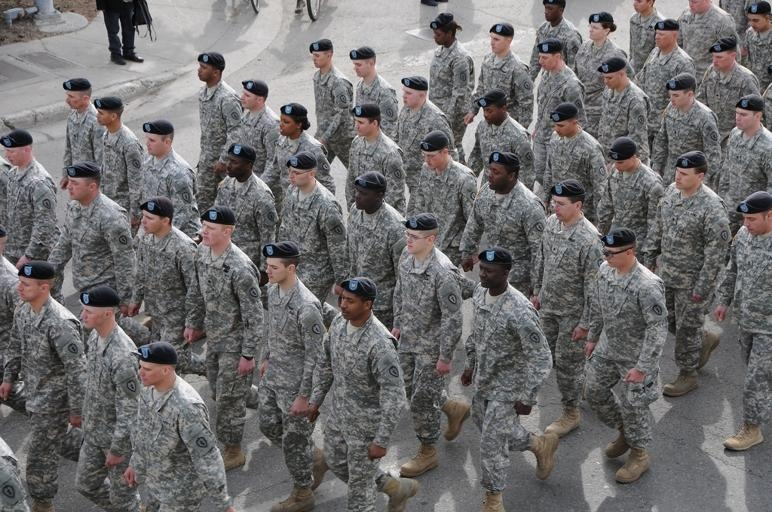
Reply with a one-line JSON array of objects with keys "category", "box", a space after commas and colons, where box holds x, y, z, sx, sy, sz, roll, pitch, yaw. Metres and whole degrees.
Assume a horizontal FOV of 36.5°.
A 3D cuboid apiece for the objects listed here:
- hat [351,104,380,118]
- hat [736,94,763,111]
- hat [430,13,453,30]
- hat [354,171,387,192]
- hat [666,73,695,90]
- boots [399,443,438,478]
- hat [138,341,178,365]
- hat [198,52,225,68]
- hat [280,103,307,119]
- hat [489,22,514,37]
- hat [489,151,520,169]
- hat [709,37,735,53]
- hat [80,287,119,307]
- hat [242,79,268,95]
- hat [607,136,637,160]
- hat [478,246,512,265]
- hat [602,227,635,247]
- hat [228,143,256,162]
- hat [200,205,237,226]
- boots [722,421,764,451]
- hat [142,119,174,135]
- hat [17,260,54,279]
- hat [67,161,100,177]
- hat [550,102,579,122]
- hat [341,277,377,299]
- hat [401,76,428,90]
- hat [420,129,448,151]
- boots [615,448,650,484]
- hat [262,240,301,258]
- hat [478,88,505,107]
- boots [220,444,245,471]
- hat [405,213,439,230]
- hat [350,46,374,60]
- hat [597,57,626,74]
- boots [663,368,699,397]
[{"category": "hat", "box": [-0.260, -2.139, 17.294, 0.336, 0.087, 0.211, 0, 19, -8]}, {"category": "hat", "box": [5.457, -2.288, 17.520, 0.357, 0.098, 0.231, 0, 16, -33]}, {"category": "hat", "box": [1.060, -4.079, 20.441, 0.429, 0.152, 0.279, -22, 44, -40]}, {"category": "hat", "box": [-0.143, -0.995, 15.506, 0.401, 0.160, 0.262, 14, 4, -15]}, {"category": "hat", "box": [4.523, -2.651, 18.071, 0.326, 0.167, 0.397, -16, 23, -7]}, {"category": "boots", "box": [0.428, 2.586, 15.032, 0.253, 0.343, 0.634, 13, 18, 41]}, {"category": "hat", "box": [-2.581, 1.106, 13.331, 0.397, 0.148, 0.252, 12, 13, 19]}, {"category": "hat", "box": [-2.702, -3.118, 18.818, 0.361, 0.144, 0.442, 17, 5, 33]}, {"category": "hat", "box": [-1.328, -2.138, 17.196, 0.310, 0.083, 0.229, 10, 19, 4]}, {"category": "hat", "box": [2.014, -3.836, 20.079, 0.382, 0.112, 0.276, 10, 28, -7]}, {"category": "hat", "box": [1.644, -1.316, 15.996, 0.394, 0.115, 0.254, 5, 13, -5]}, {"category": "hat", "box": [5.591, -3.460, 19.482, 0.456, 0.178, 0.303, -1, 34, 23]}, {"category": "hat", "box": [-3.363, 0.493, 13.926, 0.378, 0.120, 0.245, 4, 26, -38]}, {"category": "hat", "box": [-1.961, -2.609, 18.237, 0.347, 0.102, 0.256, 3, 30, -48]}, {"category": "hat", "box": [3.365, -1.503, 16.609, 0.334, 0.271, 0.359, -5, 39, 7]}, {"category": "hat", "box": [1.343, -0.015, 14.329, 0.251, 0.096, 0.311, -2, 12, -43]}, {"category": "hat", "box": [2.930, -0.193, 14.730, 0.392, 0.322, 0.321, 4, 36, 7]}, {"category": "hat", "box": [-2.024, -1.458, 16.490, 0.357, 0.111, 0.261, 15, 17, 17]}, {"category": "hat", "box": [-2.114, -0.506, 14.967, 0.415, 0.261, 0.317, -9, 36, -12]}, {"category": "boots", "box": [4.693, 2.357, 15.340, 0.702, 0.354, 0.230, -6, 9, -6]}, {"category": "hat", "box": [-3.265, -1.868, 17.098, 0.361, 0.099, 0.254, -3, 18, -40]}, {"category": "hat", "box": [-4.286, 0.173, 14.402, 0.359, 0.099, 0.240, 8, 14, 19]}, {"category": "hat", "box": [-4.086, -1.190, 16.025, 0.356, 0.095, 0.259, 0, 5, -36]}, {"category": "hat", "box": [2.670, -2.135, 17.423, 0.416, 0.168, 0.261, 4, 34, 13]}, {"category": "hat", "box": [-0.231, 0.392, 13.768, 0.274, 0.111, 0.354, 22, 5, 42]}, {"category": "hat", "box": [0.487, -2.691, 18.310, 0.361, 0.106, 0.263, 7, 18, -21]}, {"category": "hat", "box": [0.634, -1.609, 16.449, 0.425, 0.179, 0.264, 6, 46, 17]}, {"category": "boots", "box": [3.145, 2.673, 14.868, 0.498, 0.398, 0.216, -29, 35, -26]}, {"category": "hat", "box": [-1.256, -0.076, 14.381, 0.390, 0.208, 0.261, -9, 36, -11]}, {"category": "hat", "box": [1.648, -2.393, 17.757, 0.376, 0.118, 0.262, -16, 28, -37]}, {"category": "boots", "box": [-1.938, 2.595, 15.123, 0.248, 0.287, 0.213, -7, 38, -7]}, {"category": "hat", "box": [0.504, -0.433, 14.651, 0.230, 0.089, 0.322, 18, 19, 41]}, {"category": "hat", "box": [-0.373, -3.316, 19.253, 0.390, 0.108, 0.244, 4, 24, 9]}, {"category": "hat", "box": [3.590, -3.008, 18.599, 0.409, 0.127, 0.253, -4, 32, 11]}, {"category": "boots", "box": [4.061, 1.757, 16.064, 0.680, 0.347, 0.220, -10, 29, -12]}]
